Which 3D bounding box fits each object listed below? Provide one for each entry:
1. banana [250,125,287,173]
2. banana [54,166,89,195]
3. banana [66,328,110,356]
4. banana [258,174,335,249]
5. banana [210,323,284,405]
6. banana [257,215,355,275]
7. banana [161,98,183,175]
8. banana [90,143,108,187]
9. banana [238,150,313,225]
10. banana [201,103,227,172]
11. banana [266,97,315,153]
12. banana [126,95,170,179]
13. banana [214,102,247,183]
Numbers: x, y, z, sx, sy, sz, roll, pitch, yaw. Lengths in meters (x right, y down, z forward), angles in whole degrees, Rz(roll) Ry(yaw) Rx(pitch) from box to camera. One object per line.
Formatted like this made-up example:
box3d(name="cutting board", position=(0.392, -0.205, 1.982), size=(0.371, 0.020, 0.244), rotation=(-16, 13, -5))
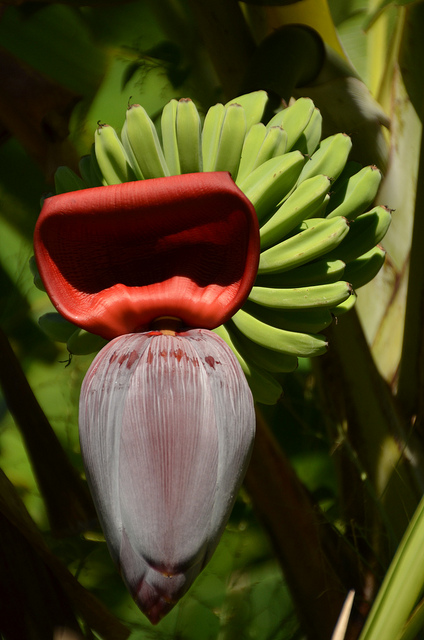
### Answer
box3d(name="banana", position=(0.074, -0.221, 0.749), size=(0.019, 0.020, 0.071), rotation=(37, 84, 35))
box3d(name="banana", position=(-0.201, -0.199, 0.832), size=(0.040, 0.035, 0.081), rotation=(-23, 19, -19))
box3d(name="banana", position=(-0.169, 0.025, 0.821), size=(0.062, 0.037, 0.014), rotation=(-17, 38, 17))
box3d(name="banana", position=(0.097, -0.128, 0.704), size=(0.114, 0.041, 0.034), rotation=(-46, 16, 26))
box3d(name="banana", position=(0.039, 0.046, 0.676), size=(0.032, 0.121, 0.029), rotation=(-49, 19, -19))
box3d(name="banana", position=(0.107, -0.091, 0.712), size=(0.101, 0.025, 0.039), rotation=(-28, -15, 2))
box3d(name="banana", position=(-0.049, -0.216, 0.705), size=(0.031, 0.100, 0.022), rotation=(6, -14, -40))
box3d(name="banana", position=(-0.151, -0.212, 0.787), size=(0.020, 0.012, 0.091), rotation=(-7, -5, -7))
box3d(name="banana", position=(0.074, -0.157, 0.698), size=(0.076, 0.067, 0.044), rotation=(-14, 19, 5))
box3d(name="banana", position=(0.000, -0.229, 0.736), size=(0.030, 0.032, 0.093), rotation=(-9, 63, 26))
box3d(name="banana", position=(0.097, -0.247, 0.780), size=(0.023, 0.083, 0.052), rotation=(-4, 51, -40))
box3d(name="banana", position=(-0.078, -0.212, 0.708), size=(0.038, 0.132, 0.034), rotation=(-4, 48, 5))
box3d(name="banana", position=(0.028, -0.210, 0.705), size=(0.029, 0.105, 0.026), rotation=(-5, -16, 44))
